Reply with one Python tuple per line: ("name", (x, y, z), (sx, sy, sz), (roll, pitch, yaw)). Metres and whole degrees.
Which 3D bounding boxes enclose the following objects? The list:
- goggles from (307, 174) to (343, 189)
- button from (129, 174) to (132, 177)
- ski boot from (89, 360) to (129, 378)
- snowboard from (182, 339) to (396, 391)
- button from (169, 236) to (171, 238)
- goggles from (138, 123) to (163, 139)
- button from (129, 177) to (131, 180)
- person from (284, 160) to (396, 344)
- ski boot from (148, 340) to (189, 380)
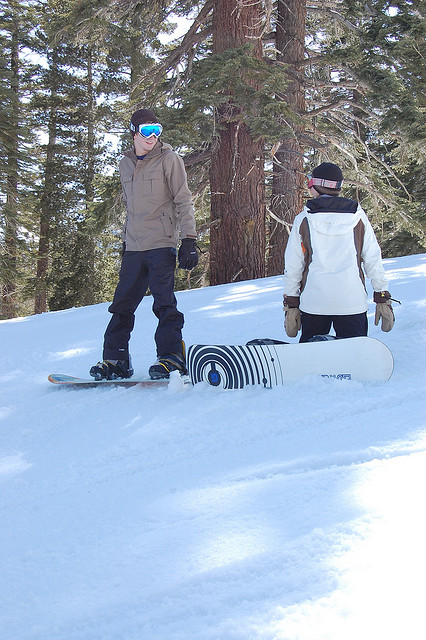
("goggles", (0.596, -0.733, 3.155), (0.126, 0.062, 0.104), (9, 17, 18))
("button", (-0.509, -0.884, 3.612), (0.011, 0.016, 0.003), (-1, 12, 33))
("ski boot", (-0.641, 0.310, 3.622), (0.253, 0.109, 0.087), (5, -12, -40))
("snowboard", (0.220, 0.206, 3.046), (1.368, 0.352, 0.205), (0, 11, 12))
("button", (-0.267, -0.508, 3.607), (0.015, 0.014, 0.004), (-1, 1, 35))
("goggles", (-0.360, -1.135, 3.544), (0.176, 0.091, 0.091), (-16, 13, -40))
("button", (-0.511, -0.869, 3.617), (0.005, 0.018, 0.018), (-1, -23, 15))
("person", (0.706, -0.156, 3.295), (0.608, 1.376, 0.388), (3, 20, 17))
("ski boot", (-0.264, 0.247, 3.475), (0.178, 0.179, 0.307), (-3, 11, 25))
